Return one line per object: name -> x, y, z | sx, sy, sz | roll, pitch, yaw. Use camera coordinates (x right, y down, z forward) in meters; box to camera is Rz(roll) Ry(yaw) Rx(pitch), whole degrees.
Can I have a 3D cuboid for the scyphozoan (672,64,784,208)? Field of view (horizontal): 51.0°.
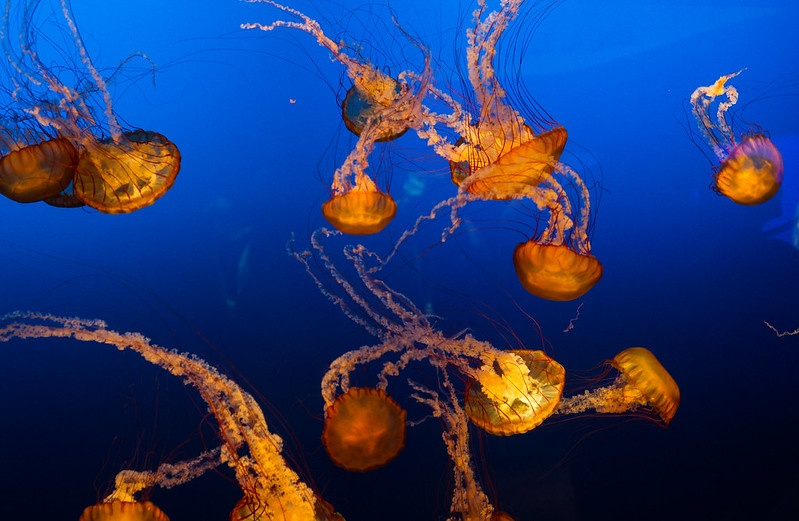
scyphozoan -> 2.913, -1.029, 7.232 | 0.645, 1.143, 0.182 | -20, 2, 11
